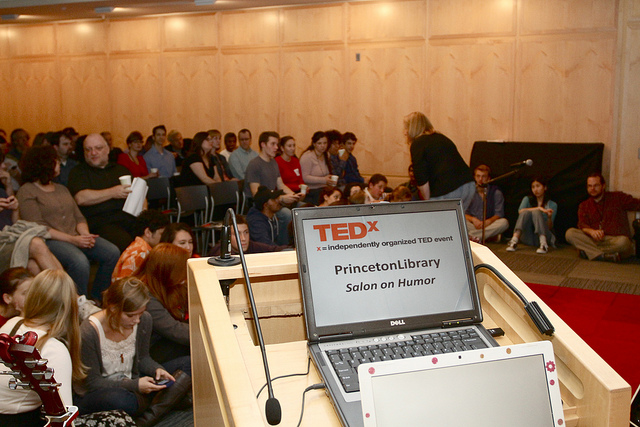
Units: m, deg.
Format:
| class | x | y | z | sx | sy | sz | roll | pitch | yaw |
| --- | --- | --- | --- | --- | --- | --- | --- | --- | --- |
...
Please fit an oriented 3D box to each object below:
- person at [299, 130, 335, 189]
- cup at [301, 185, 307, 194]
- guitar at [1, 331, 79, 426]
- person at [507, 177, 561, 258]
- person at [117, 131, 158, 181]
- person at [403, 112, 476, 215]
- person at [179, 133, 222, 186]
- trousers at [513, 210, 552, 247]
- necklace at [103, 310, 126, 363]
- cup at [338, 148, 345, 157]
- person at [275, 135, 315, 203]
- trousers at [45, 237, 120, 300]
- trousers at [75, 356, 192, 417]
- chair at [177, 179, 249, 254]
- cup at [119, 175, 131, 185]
| class | x | y | z | sx | sy | sz | roll | pitch | yaw |
| --- | --- | --- | --- | --- | --- | --- | --- | --- | --- |
| person | -0.056 | -0.787 | 7.698 | 0.491 | 0.923 | 0.533 | -1 | 20 | -4 |
| cup | -0.236 | -0.330 | 7.159 | 0.100 | 0.135 | 0.119 | 0 | -4 | 1 |
| guitar | -1.093 | 0.652 | 2.000 | 0.200 | 0.438 | 0.187 | -1 | 10 | -8 |
| person | 2.921 | 0.013 | 6.990 | 0.544 | 0.942 | 0.952 | 7 | 12 | 30 |
| person | -2.849 | -0.893 | 8.089 | 0.697 | 0.885 | 0.526 | 3 | 4 | 44 |
| person | 1.193 | -0.282 | 5.295 | 0.501 | 1.533 | 0.628 | -25 | 26 | -34 |
| person | -1.775 | -0.762 | 7.685 | 0.667 | 0.915 | 0.652 | -2 | 4 | -13 |
| trousers | 2.882 | 0.203 | 7.055 | 0.381 | 0.523 | 0.206 | 5 | 11 | 23 |
| necklace | -1.311 | 0.764 | 3.255 | 0.038 | 0.371 | 0.087 | 3 | 16 | 43 |
| cup | 0.324 | -0.974 | 8.135 | 0.112 | 0.115 | 0.089 | 23 | 5 | 36 |
| person | -0.391 | -0.624 | 7.322 | 0.520 | 0.916 | 0.616 | -8 | 13 | -36 |
| trousers | -2.198 | 0.530 | 4.845 | 0.501 | 0.623 | 0.496 | 7 | 12 | -13 |
| trousers | -1.292 | 1.164 | 3.276 | 0.520 | 0.180 | 0.544 | -3 | 5 | 28 |
| chair | -1.206 | 0.012 | 5.686 | 0.785 | 0.935 | 0.633 | -5 | 7 | -35 |
| cup | -1.940 | -0.335 | 5.090 | 0.085 | 0.074 | 0.091 | -1 | 4 | 0 |
